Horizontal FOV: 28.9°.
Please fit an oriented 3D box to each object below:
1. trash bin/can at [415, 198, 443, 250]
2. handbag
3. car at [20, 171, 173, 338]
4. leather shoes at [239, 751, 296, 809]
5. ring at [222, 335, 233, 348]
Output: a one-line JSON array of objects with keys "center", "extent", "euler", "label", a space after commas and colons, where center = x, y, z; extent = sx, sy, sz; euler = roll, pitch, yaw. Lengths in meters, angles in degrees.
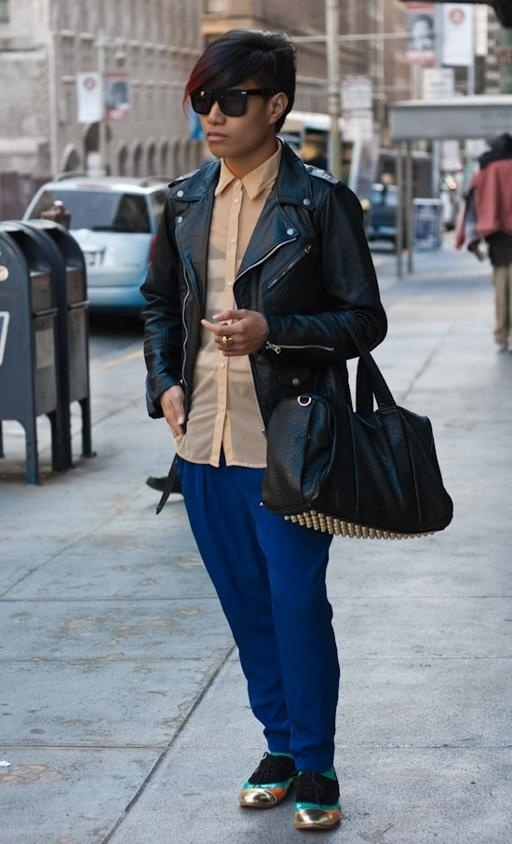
[{"center": [5.626, -6.401, 32.426], "extent": [0.858, 1.595, 1.597], "euler": [-1, 5, 6], "label": "trash bin/can"}, {"center": [0.200, 0.043, 2.032], "extent": [0.404, 0.395, 0.225], "euler": [-6, 7, -44], "label": "handbag"}, {"center": [-2.034, -2.646, 15.123], "extent": [2.254, 1.834, 3.759], "euler": [2, 17, 8], "label": "car"}, {"center": [0.033, 0.825, 2.317], "extent": [0.067, 0.073, 0.172], "euler": [-2, -1, 22], "label": "leather shoes"}, {"center": [-0.053, -0.151, 1.864], "extent": [0.022, 0.022, 0.017], "euler": [3, -1, -32], "label": "ring"}]
